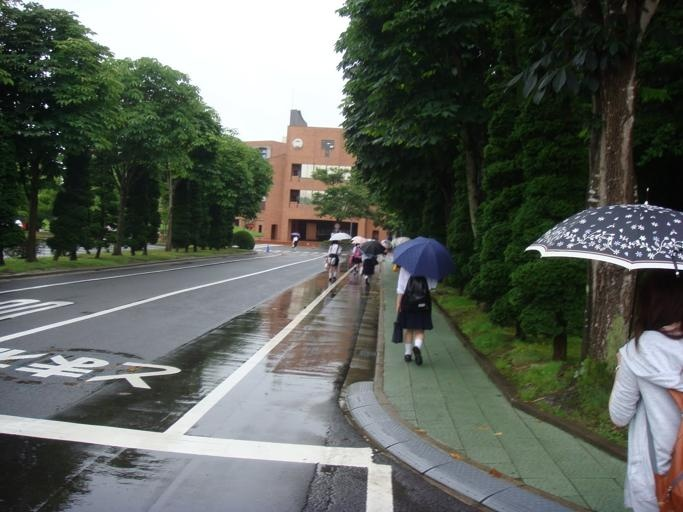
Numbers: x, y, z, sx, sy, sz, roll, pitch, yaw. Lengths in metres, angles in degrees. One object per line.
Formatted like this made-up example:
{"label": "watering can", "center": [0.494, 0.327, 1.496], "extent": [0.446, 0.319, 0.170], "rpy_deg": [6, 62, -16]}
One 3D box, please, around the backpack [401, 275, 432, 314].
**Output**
{"label": "backpack", "center": [1.264, 0.627, 9.681], "extent": [0.531, 0.549, 0.341], "rpy_deg": [-4, 21, -16]}

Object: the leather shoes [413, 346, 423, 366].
{"label": "leather shoes", "center": [1.275, 1.662, 9.551], "extent": [0.186, 0.292, 0.242], "rpy_deg": [4, 9, 1]}
